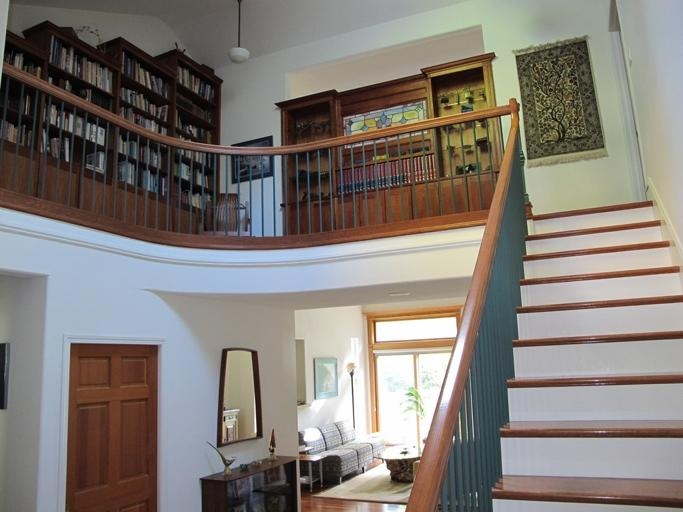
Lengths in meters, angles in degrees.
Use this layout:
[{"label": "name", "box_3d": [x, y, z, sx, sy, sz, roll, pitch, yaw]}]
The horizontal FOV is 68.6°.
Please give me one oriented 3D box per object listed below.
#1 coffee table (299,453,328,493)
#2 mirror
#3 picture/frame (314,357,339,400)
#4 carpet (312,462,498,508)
[{"label": "coffee table", "box_3d": [-0.586, 4.211, 9.612, 0.646, 0.501, 0.616, 16, -31, -39]}, {"label": "mirror", "box_3d": [-1.326, 1.837, 6.417, 0.064, 1.647, 1.152, -6, -9, 23]}, {"label": "picture/frame", "box_3d": [-0.347, 2.829, 11.601, 0.026, 0.945, 1.196, 6, -17, -29]}, {"label": "carpet", "box_3d": [0.609, 4.334, 9.447, 1.625, 0.081, 2.224, -8, -12, 18]}]
